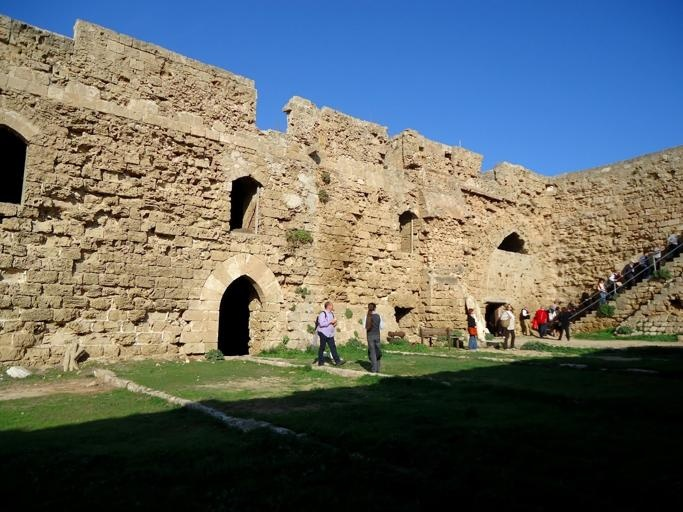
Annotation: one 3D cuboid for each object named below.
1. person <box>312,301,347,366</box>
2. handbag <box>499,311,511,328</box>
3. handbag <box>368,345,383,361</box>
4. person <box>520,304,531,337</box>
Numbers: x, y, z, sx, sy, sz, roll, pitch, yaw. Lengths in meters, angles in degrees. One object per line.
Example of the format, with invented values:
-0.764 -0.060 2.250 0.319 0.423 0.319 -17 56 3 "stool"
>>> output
-0.316 1.910 10.363 0.679 1.532 0.831 -3 -7 -1 "person"
5.642 2.218 14.398 0.372 0.614 0.250 -5 -8 16 "handbag"
0.738 2.115 9.299 0.235 0.467 0.216 -3 -7 -1 "handbag"
8.551 3.011 19.551 0.466 1.311 1.259 -6 -8 23 "person"
